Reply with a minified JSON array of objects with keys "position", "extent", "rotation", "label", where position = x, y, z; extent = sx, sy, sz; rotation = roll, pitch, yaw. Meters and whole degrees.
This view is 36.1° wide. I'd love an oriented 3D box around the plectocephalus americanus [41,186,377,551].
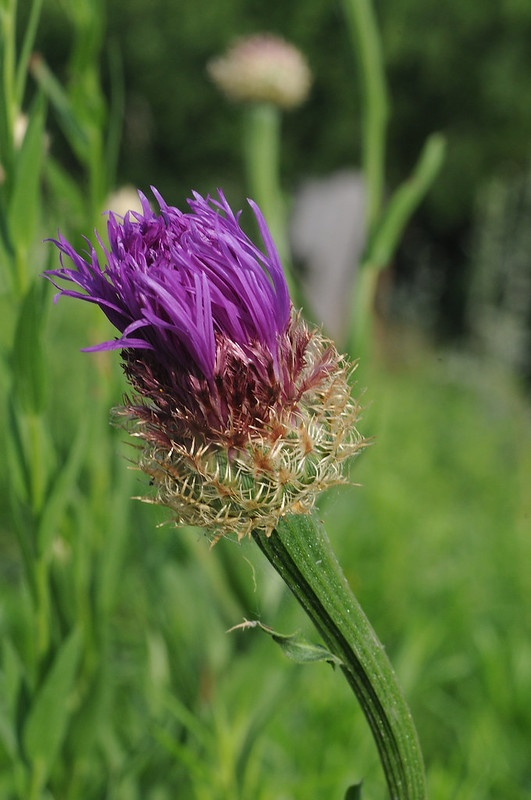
[{"position":[-0.031,-0.019,0.411],"extent":[0.173,0.154,0.108],"rotation":[19,36,15],"label":"plectocephalus americanus"}]
